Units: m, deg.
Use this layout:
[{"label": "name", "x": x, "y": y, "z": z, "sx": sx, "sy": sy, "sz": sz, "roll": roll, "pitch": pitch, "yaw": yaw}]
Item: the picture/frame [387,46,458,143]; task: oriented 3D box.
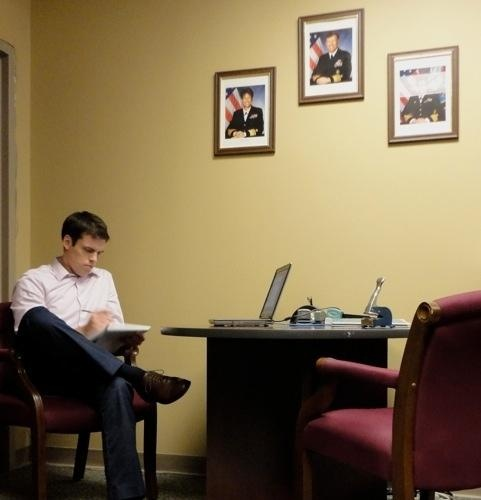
[{"label": "picture/frame", "x": 0.873, "y": -0.736, "z": 2.659, "sx": 0.315, "sy": 0.034, "sz": 0.509, "roll": 5, "pitch": -38, "yaw": 24}]

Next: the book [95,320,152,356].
[{"label": "book", "x": -0.475, "y": 0.350, "z": 2.225, "sx": 0.172, "sy": 0.069, "sz": 0.170, "roll": -44, "pitch": -33, "yaw": 23}]

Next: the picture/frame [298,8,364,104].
[{"label": "picture/frame", "x": 0.456, "y": -0.963, "z": 2.782, "sx": 0.319, "sy": 0.028, "sz": 0.510, "roll": 0, "pitch": -35, "yaw": 11}]

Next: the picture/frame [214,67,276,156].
[{"label": "picture/frame", "x": 0.023, "y": -0.706, "z": 2.871, "sx": 0.306, "sy": 0.527, "sz": 0.038, "roll": -2, "pitch": -23, "yaw": 3}]

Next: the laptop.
[{"label": "laptop", "x": 0.058, "y": 0.198, "z": 2.275, "sx": 0.233, "sy": 0.254, "sz": 0.308, "roll": 4, "pitch": -10, "yaw": -2}]

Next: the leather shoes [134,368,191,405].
[{"label": "leather shoes", "x": -0.318, "y": 0.512, "z": 2.123, "sx": 0.269, "sy": 0.123, "sz": 0.124, "roll": -20, "pitch": 10, "yaw": 43}]
